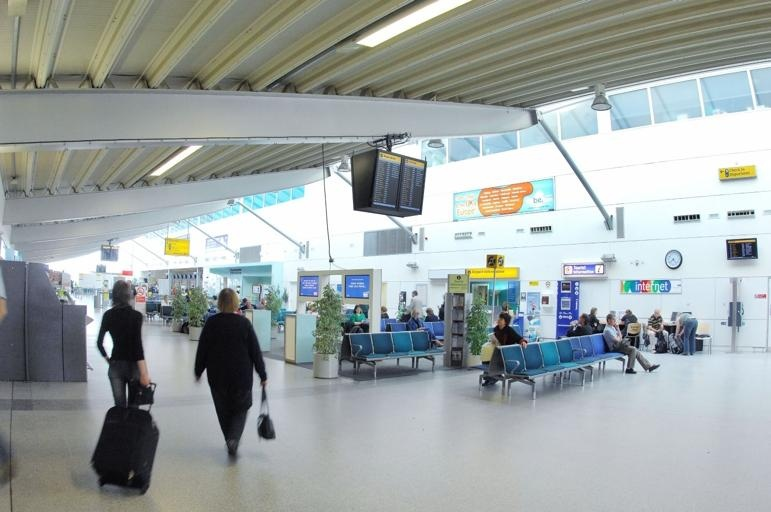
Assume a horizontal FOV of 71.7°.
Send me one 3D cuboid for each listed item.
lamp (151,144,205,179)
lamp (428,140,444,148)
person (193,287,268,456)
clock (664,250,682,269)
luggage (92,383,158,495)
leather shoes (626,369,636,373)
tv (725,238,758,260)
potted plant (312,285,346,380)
[{"bbox_3d":[-5.207,-2.251,13.208,0.343,0.213,2.308,27,-25,-30],"label":"lamp"},{"bbox_3d":[1.165,-2.593,12.287,0.321,0.299,0.277,-2,3,-16],"label":"lamp"},{"bbox_3d":[-2.102,1.591,7.257,0.926,2.288,0.404,1,-4,-11],"label":"person"},{"bbox_3d":[9.554,0.096,17.795,0.127,0.720,0.622,14,-7,-39],"label":"clock"},{"bbox_3d":[-3.186,2.358,6.547,0.766,1.019,0.176,-1,-4,6],"label":"luggage"},{"bbox_3d":[6.020,2.852,13.215,0.286,0.103,0.093,1,3,-22],"label":"leather shoes"},{"bbox_3d":[11.071,-0.239,16.633,0.782,0.678,0.183,1,0,35],"label":"tv"},{"bbox_3d":[-1.310,1.697,12.061,0.628,2.053,0.520,0,-4,-10],"label":"potted plant"}]
